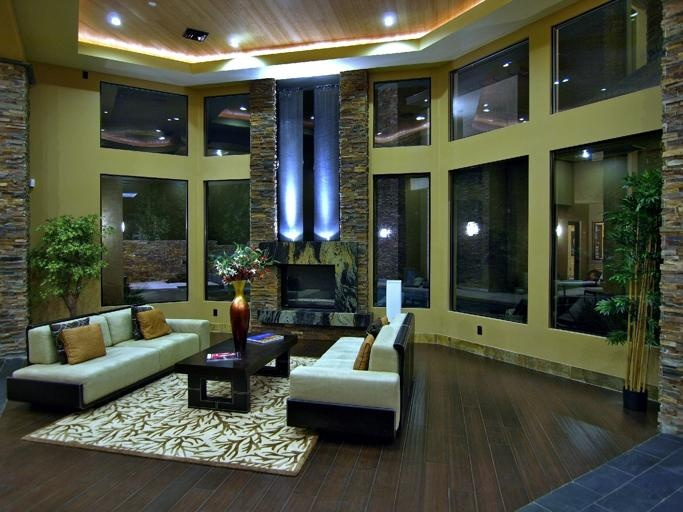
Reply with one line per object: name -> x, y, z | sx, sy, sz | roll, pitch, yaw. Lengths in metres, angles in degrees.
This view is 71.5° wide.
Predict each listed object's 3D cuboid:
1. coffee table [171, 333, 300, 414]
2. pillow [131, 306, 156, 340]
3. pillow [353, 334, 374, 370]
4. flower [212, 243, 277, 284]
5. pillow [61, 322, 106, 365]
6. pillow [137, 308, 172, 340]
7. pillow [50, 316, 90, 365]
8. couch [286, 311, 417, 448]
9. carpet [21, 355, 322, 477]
coffee table -> -1.375, 1.392, 5.713 | 0.775, 0.422, 1.568 | 1, 3, 12
pillow -> -2.851, 0.967, 6.829 | 0.176, 0.422, 0.449 | -12, 3, 20
pillow -> 0.249, 1.064, 5.246 | 0.146, 0.298, 0.328 | 7, -4, 6
flower -> -1.271, 0.098, 6.332 | 0.480, 0.332, 0.519 | -13, 33, -19
pillow -> -3.196, 1.081, 5.856 | 0.205, 0.354, 0.506 | 0, 8, 31
pillow -> -2.717, 0.977, 6.872 | 0.135, 0.365, 0.451 | -17, -1, 35
pillow -> -3.366, 0.997, 5.854 | 0.177, 0.435, 0.489 | -31, -17, 34
couch -> 0.152, 1.349, 5.456 | 1.222, 1.020, 1.291 | 3, 14, 12
carpet -> -1.891, 1.900, 5.820 | 2.140, 0.049, 2.870 | 7, -1, 11
